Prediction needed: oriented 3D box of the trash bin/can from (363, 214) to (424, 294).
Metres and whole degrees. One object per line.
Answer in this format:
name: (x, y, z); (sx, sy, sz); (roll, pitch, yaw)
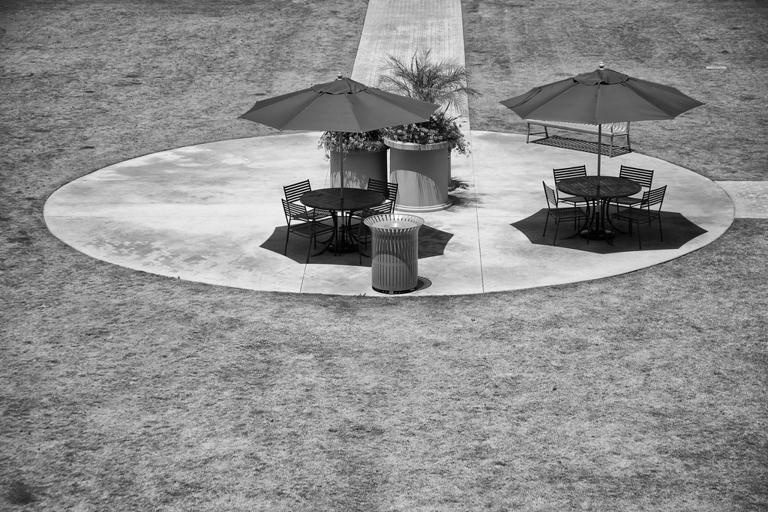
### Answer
trash bin/can: (0.183, -0.023, 12.268); (1.009, 1.286, 0.843); (-3, 26, -1)

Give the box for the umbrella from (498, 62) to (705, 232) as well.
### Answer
umbrella: (3.983, -2.416, 13.019); (3.478, 1.874, 2.968); (1, -3, 38)

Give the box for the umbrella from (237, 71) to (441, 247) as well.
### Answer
umbrella: (-1.498, -2.167, 13.764); (4.342, 2.354, 3.148); (-6, 32, -12)
